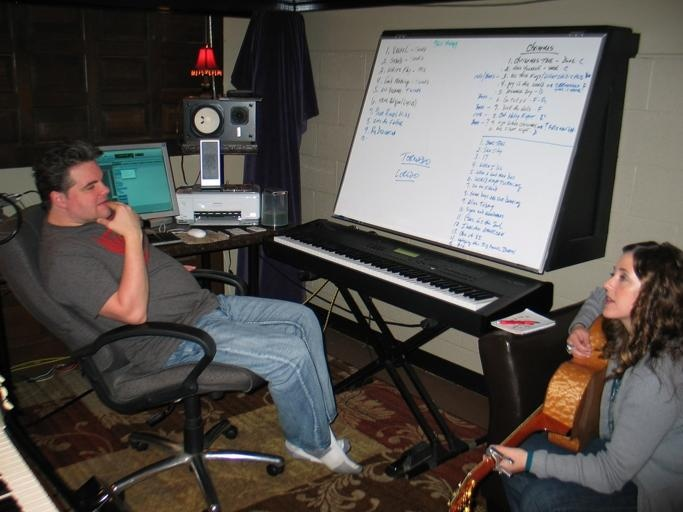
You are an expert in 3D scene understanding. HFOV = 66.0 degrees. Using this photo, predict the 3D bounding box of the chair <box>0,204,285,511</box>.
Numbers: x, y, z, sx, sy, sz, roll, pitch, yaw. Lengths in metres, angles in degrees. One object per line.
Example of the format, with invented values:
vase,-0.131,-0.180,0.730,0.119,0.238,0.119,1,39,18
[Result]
chair,-0.826,0.436,2.171,1.130,1.174,0.563,8,24,11

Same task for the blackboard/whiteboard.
blackboard/whiteboard,0.639,-0.467,2.495,1.248,0.915,0.441,23,19,40

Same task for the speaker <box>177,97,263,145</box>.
speaker,-0.713,-0.795,3.078,0.507,0.271,0.280,-1,10,-12

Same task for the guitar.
guitar,0.687,0.585,1.930,0.969,0.357,0.126,-26,38,-28
